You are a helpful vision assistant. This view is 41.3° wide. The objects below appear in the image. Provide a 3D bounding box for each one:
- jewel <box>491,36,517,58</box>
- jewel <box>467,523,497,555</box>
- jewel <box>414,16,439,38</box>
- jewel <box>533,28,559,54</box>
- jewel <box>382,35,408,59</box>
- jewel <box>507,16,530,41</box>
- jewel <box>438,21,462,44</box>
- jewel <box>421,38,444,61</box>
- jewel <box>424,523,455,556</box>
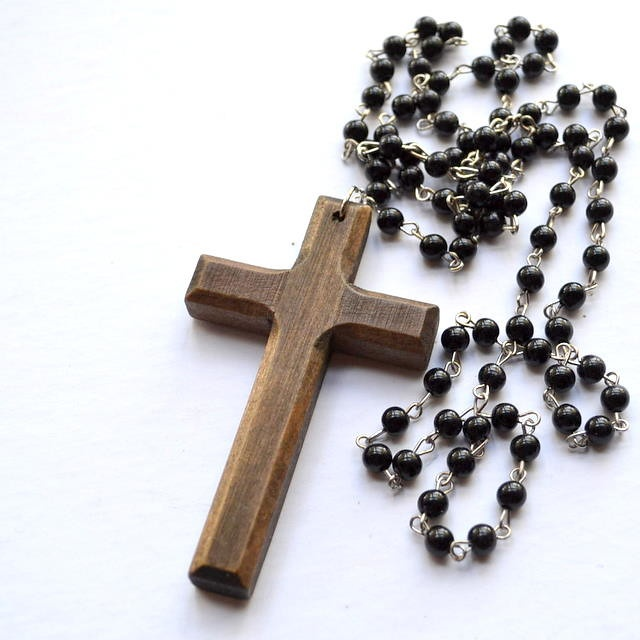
[{"bbox_3d":[0.372,-0.554,1.724,0.055,0.047,0.046,1,-83,9],"label":"jewel"},{"bbox_3d":[0.236,0.322,1.258,0.055,0.046,0.045,1,-85,7],"label":"jewel"},{"bbox_3d":[0.218,-0.603,1.750,0.057,0.026,0.041,4,-79,21],"label":"jewel"},{"bbox_3d":[0.460,-0.569,1.726,0.062,0.053,0.050,2,-87,11],"label":"jewel"},{"bbox_3d":[0.155,-0.561,1.745,0.066,0.031,0.049,6,-72,23],"label":"jewel"},{"bbox_3d":[0.408,-0.596,1.741,0.058,0.050,0.049,2,-85,12],"label":"jewel"},{"bbox_3d":[0.268,-0.596,1.755,0.048,0.028,0.041,-7,-106,3],"label":"jewel"},{"bbox_3d":[0.228,-0.554,1.729,0.051,0.045,0.044,7,-77,18],"label":"jewel"},{"bbox_3d":[0.177,0.324,1.259,0.053,0.045,0.044,0,-88,8],"label":"jewel"}]
